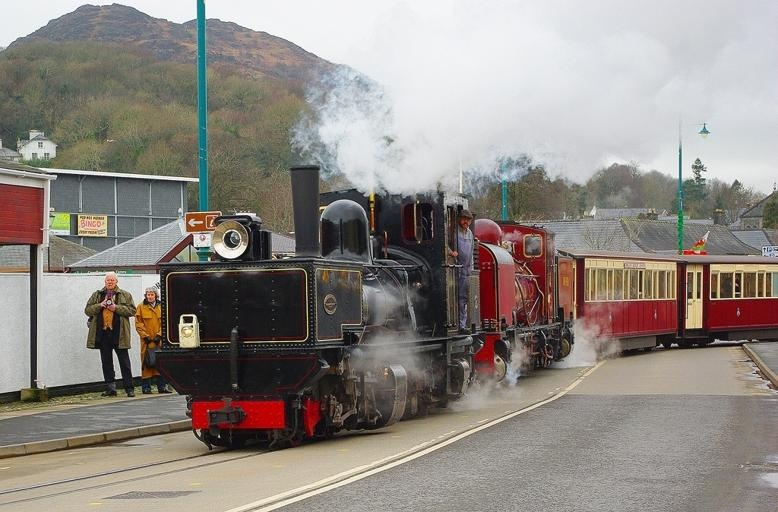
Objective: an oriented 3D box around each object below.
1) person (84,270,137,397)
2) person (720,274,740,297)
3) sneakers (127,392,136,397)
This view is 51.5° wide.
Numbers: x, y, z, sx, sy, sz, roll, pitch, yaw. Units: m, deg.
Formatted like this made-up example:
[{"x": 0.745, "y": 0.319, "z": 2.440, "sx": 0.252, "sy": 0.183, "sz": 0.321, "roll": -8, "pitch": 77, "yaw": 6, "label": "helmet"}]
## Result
[{"x": -6.353, "y": 1.812, "z": 18.455, "sx": 1.081, "sy": 2.874, "sz": 0.823, "roll": 0, "pitch": -3, "yaw": -11, "label": "person"}, {"x": 15.341, "y": 1.313, "z": 36.058, "sx": 1.062, "sy": 1.033, "sz": 0.257, "roll": 4, "pitch": -2, "yaw": 17, "label": "person"}, {"x": -5.989, "y": 3.235, "z": 18.725, "sx": 0.095, "sy": 0.113, "sz": 0.262, "roll": 0, "pitch": -7, "yaw": -8, "label": "sneakers"}]
